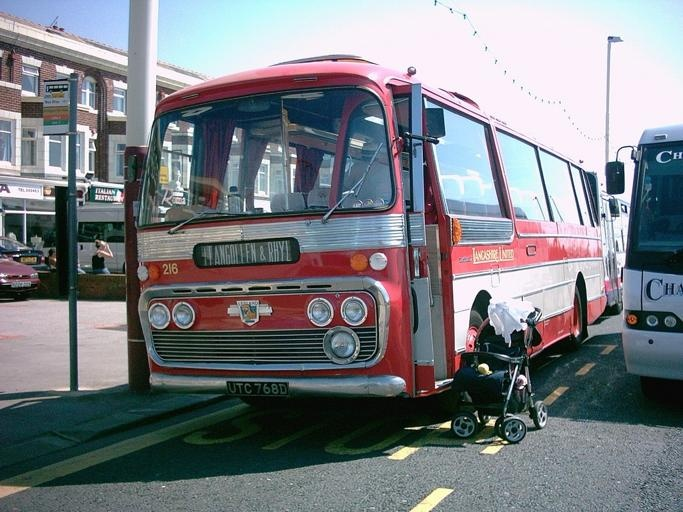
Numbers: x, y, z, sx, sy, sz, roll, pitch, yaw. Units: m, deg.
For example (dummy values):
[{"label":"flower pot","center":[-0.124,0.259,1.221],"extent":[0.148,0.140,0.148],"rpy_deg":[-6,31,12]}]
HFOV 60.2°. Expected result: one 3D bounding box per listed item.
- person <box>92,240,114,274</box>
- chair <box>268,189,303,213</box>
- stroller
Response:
[{"label":"person","center":[-9.500,-0.012,23.638],"extent":[0.631,1.331,3.133],"rpy_deg":[-1,2,-21]},{"label":"chair","center":[-0.559,-0.559,6.067],"extent":[0.393,0.210,0.150],"rpy_deg":[1,2,34]},{"label":"stroller","center":[1.728,1.225,6.479],"extent":[0.851,1.431,1.121],"rpy_deg":[-3,-5,43]}]
